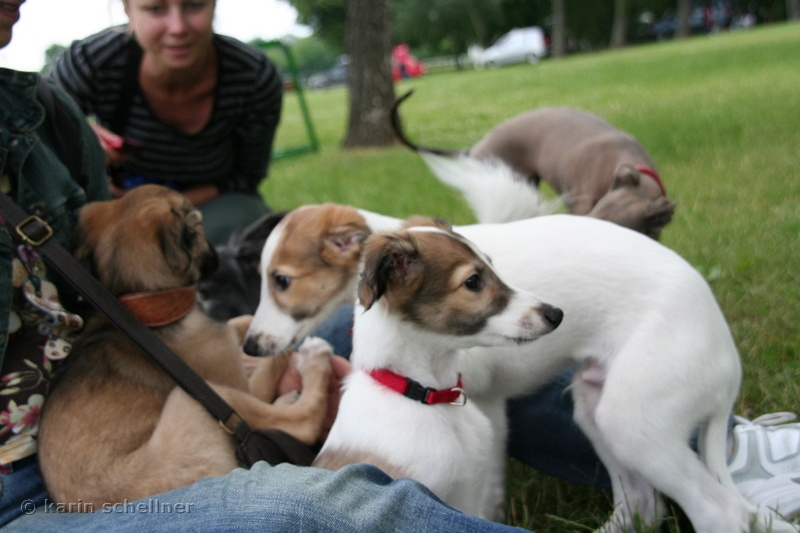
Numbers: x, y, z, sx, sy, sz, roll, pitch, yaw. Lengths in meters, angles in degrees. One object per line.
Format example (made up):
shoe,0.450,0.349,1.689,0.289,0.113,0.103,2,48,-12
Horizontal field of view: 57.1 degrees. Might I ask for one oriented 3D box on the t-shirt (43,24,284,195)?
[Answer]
t-shirt,-1.101,-0.725,4.152,1.208,0.742,1.232,-1,-13,-8
